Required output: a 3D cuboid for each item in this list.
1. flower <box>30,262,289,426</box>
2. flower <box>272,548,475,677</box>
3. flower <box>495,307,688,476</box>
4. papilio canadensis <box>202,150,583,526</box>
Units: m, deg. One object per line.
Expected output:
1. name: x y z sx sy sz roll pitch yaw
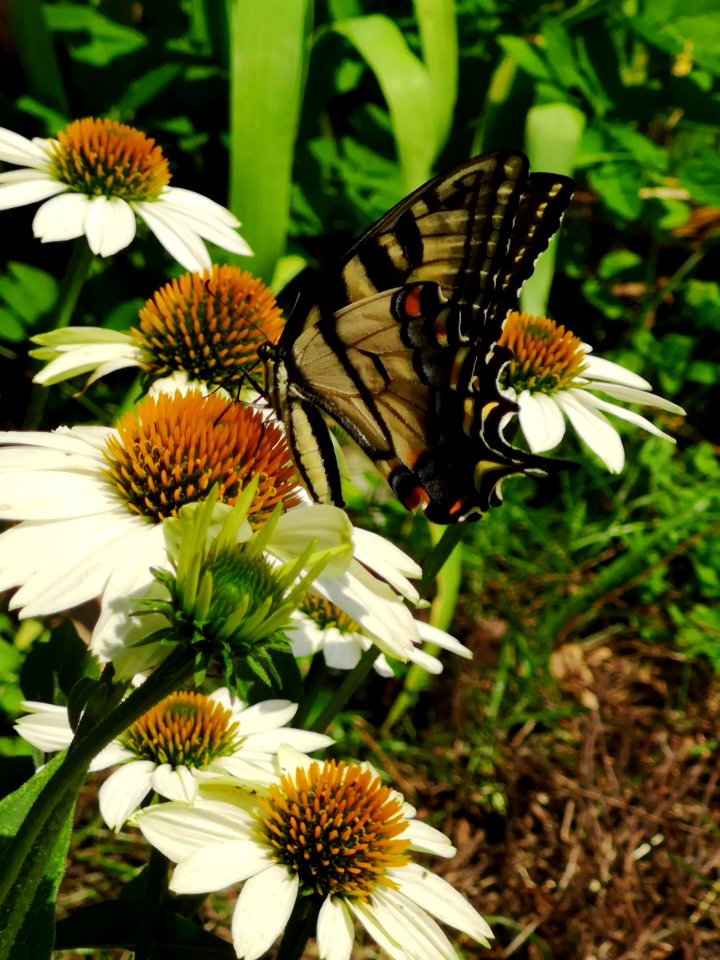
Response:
1. flower: -0.437 -0.314 1.884 0.436 0.201 0.391 14 38 0
2. flower: 0.026 0.278 1.618 0.357 0.100 0.338 27 9 -28
3. flower: 0.506 -0.140 1.983 0.443 0.163 0.399 19 34 -9
4. papilio canadensis: -0.024 -0.323 1.903 0.820 0.689 0.599 7 14 3
